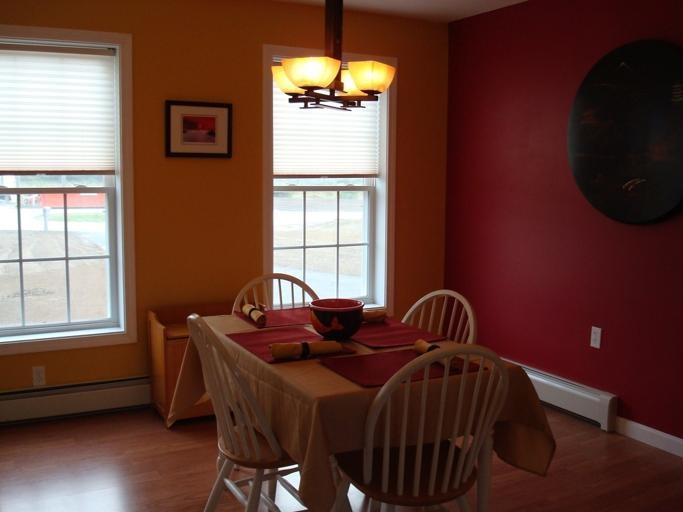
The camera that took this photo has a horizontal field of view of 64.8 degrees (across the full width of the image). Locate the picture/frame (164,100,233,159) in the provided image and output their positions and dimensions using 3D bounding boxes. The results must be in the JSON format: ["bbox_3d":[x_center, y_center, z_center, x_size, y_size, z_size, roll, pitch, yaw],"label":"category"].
[{"bbox_3d":[-1.055,-0.923,3.874,0.407,0.373,0.034,-1,4,-19],"label":"picture/frame"}]

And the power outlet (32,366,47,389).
[{"bbox_3d":[-2.061,0.815,3.662,0.079,0.141,0.021,-3,12,-19],"label":"power outlet"}]
